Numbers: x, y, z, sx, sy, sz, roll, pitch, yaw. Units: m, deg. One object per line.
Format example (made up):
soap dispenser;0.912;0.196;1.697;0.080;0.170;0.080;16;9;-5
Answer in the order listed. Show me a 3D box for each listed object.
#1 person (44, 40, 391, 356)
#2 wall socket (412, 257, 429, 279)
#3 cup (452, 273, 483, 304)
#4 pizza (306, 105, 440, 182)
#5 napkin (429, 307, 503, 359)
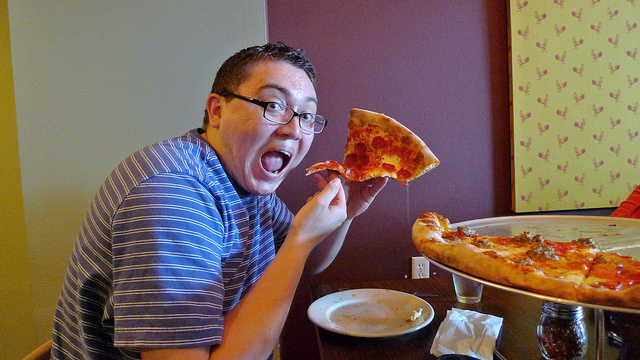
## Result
person;-0.517;0.070;2.246;1.189;1.550;0.665;0;2;-30
wall socket;0.698;0.614;3.189;0.129;0.143;0.030;0;2;-18
cup;0.773;0.587;2.469;0.163;0.158;0.164;-1;-5;0
pizza;0.351;-0.177;2.660;0.530;0.513;0.110;32;-8;25
napkin;0.693;0.755;2.214;0.270;0.163;0.283;1;1;27
